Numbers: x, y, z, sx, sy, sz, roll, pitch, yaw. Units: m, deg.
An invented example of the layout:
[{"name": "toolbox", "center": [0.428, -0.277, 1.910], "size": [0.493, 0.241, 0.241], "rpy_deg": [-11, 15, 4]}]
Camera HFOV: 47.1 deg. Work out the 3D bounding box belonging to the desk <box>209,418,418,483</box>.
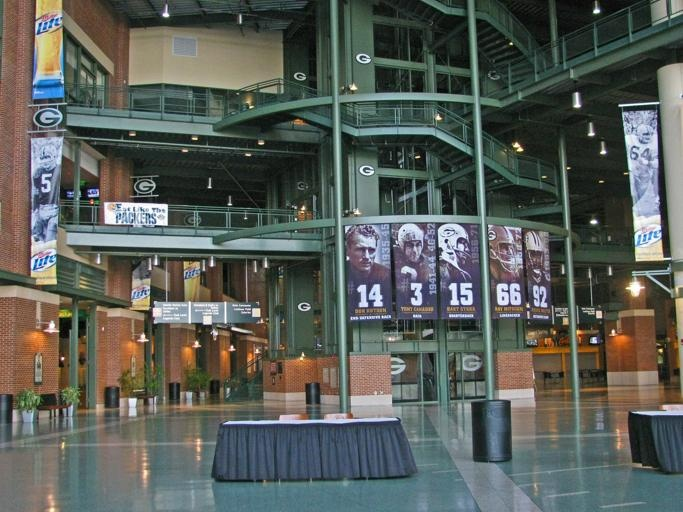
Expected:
[{"name": "desk", "center": [-0.699, 4.506, 18.023], "size": [4.377, 1.433, 0.540], "rpy_deg": [-4, -11, 4]}]
